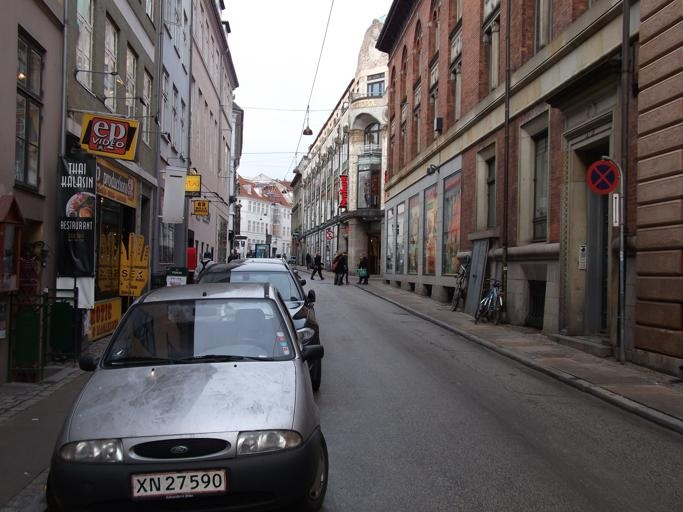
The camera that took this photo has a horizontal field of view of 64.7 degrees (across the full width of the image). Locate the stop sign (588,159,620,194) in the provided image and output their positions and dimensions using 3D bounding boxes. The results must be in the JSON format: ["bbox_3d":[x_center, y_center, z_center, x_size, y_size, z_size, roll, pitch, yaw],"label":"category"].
[{"bbox_3d":[5.172,-1.554,10.700,0.588,0.049,0.831,10,-39,36],"label":"stop sign"}]

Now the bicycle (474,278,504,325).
[{"bbox_3d":[4.558,1.413,16.519,0.767,1.315,1.233,1,2,18],"label":"bicycle"}]

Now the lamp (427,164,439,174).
[{"bbox_3d":[4.257,-4.080,25.239,0.449,0.534,0.260,8,-10,-40],"label":"lamp"}]

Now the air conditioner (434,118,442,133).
[{"bbox_3d":[4.460,-6.021,24.746,0.308,0.689,0.480,1,2,-2],"label":"air conditioner"}]

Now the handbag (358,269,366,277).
[{"bbox_3d":[1.284,1.064,33.168,0.405,0.517,0.357,1,-10,-1],"label":"handbag"}]
